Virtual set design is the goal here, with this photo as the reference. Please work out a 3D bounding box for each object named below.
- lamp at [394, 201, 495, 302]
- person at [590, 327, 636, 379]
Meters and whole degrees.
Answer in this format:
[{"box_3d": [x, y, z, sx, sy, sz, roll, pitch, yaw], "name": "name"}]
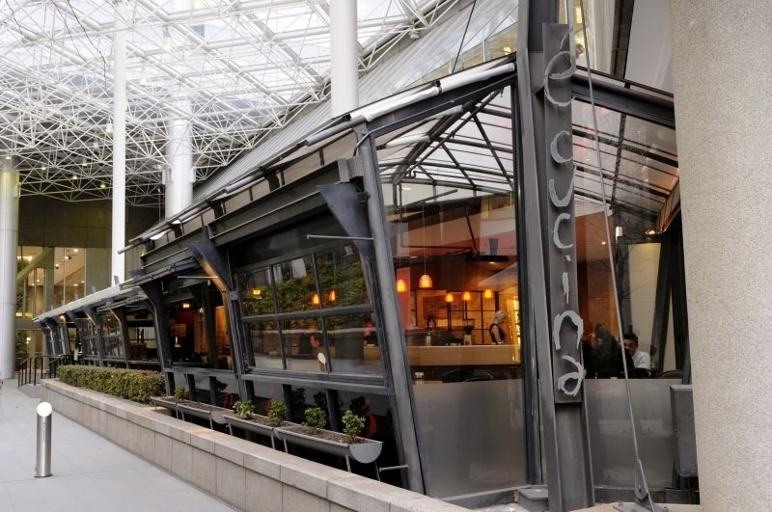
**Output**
[{"box_3d": [0.858, -0.017, 9.328, 1.482, 1.332, 0.783, -2, -14, -10], "name": "lamp"}, {"box_3d": [3.420, 1.468, 9.292, 0.464, 0.841, 0.152, -3, -7, -12], "name": "person"}]
